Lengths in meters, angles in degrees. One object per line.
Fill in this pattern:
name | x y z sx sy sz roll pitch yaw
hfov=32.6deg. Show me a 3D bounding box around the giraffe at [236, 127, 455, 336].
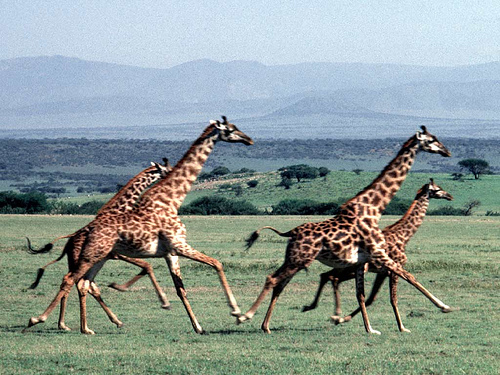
giraffe | 3.033 1.085 24.812 5.500 5.676 6.949 -2 8 10
